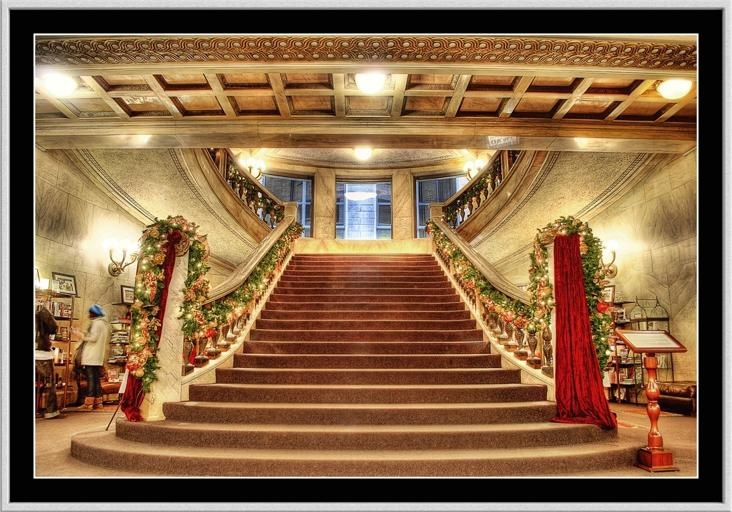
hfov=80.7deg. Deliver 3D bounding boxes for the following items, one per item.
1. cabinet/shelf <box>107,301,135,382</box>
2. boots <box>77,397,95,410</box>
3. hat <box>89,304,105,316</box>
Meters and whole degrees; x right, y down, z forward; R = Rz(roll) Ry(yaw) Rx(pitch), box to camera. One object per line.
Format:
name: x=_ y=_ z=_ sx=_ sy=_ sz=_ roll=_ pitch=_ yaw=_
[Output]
cabinet/shelf: x=-4.402 y=1.517 z=7.648 sx=0.334 sy=1.362 sz=0.483 roll=6 pitch=-10 yaw=-30
boots: x=-4.624 y=2.422 z=7.178 sx=0.467 sy=0.204 sz=0.166 roll=0 pitch=-4 yaw=41
hat: x=-4.302 y=0.884 z=6.896 sx=0.188 sy=0.172 sz=0.189 roll=7 pitch=-11 yaw=-34
